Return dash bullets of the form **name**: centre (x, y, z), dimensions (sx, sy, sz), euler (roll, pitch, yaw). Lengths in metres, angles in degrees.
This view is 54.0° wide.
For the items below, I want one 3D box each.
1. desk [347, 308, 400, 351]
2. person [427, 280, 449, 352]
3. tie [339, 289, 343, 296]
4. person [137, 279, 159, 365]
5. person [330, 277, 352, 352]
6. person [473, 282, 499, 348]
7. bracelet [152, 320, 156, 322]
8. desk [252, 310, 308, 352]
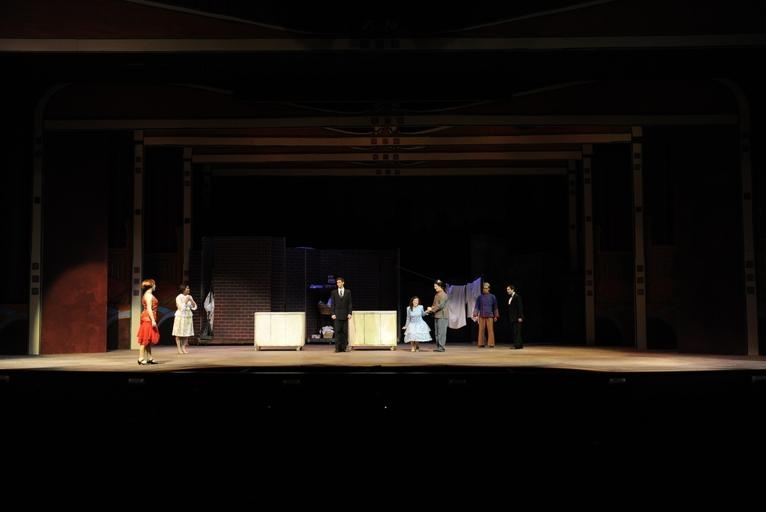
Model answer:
- **desk**: centre (-0.213, 1.960, 19.814), dimensions (1.361, 0.963, 0.735), euler (-2, -6, 12)
- **person**: centre (1.408, 1.511, 19.220), dimensions (0.472, 1.827, 1.467), euler (1, -5, 4)
- **tie**: centre (-1.061, 0.922, 18.700), dimensions (0.093, 0.129, 0.031), euler (1, -13, 4)
- **person**: centre (-5.115, 1.417, 16.257), dimensions (0.388, 1.845, 1.124), euler (3, -6, -17)
- **person**: centre (-1.069, 1.509, 18.971), dimensions (0.528, 1.823, 0.790), euler (1, -5, -4)
- **person**: centre (2.786, 1.586, 20.268), dimensions (0.506, 1.723, 0.749), euler (4, -6, -34)
- **bracelet**: centre (-4.885, 1.374, 15.836), dimensions (0.055, 0.049, 0.013), euler (1, 4, -13)
- **desk**: centre (-2.665, 1.946, 19.595), dimensions (1.336, 0.968, 0.672), euler (-1, -3, 9)
